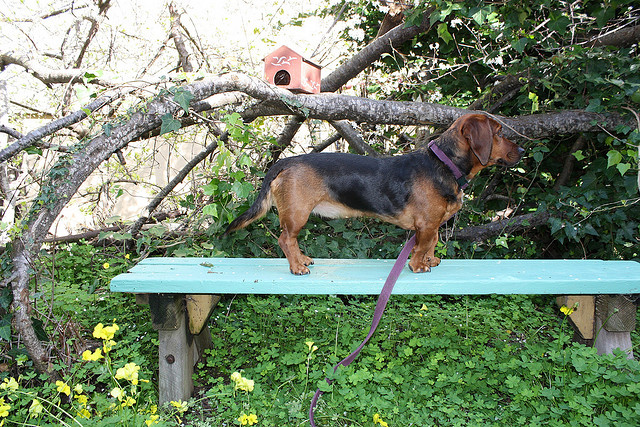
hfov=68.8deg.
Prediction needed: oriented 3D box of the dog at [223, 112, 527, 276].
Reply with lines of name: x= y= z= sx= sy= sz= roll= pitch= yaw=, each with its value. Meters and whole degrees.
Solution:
dog: x=0.400 y=-0.152 z=3.915 sx=2.454 sy=1.207 sz=0.601 roll=0 pitch=6 yaw=4

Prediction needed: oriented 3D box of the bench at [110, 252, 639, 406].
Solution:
bench: x=0.652 y=0.760 z=3.960 sx=4.316 sy=1.132 sz=1.097 roll=-5 pitch=-4 yaw=1

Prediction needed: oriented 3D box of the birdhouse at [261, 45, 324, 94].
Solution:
birdhouse: x=-0.261 y=-1.469 z=4.768 sx=0.447 sy=0.394 sz=0.561 roll=-7 pitch=16 yaw=-44
